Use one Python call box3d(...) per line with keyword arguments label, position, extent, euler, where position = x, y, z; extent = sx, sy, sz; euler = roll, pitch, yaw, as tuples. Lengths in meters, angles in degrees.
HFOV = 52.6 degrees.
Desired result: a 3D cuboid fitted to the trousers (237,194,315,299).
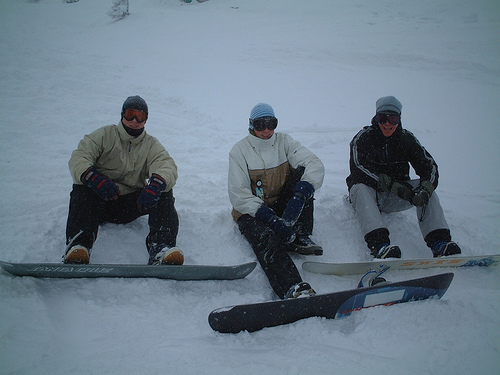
box3d(label="trousers", position=(0.325, 0.455, 7.366), extent=(0.386, 1.351, 1.362), euler=(20, -13, -12))
